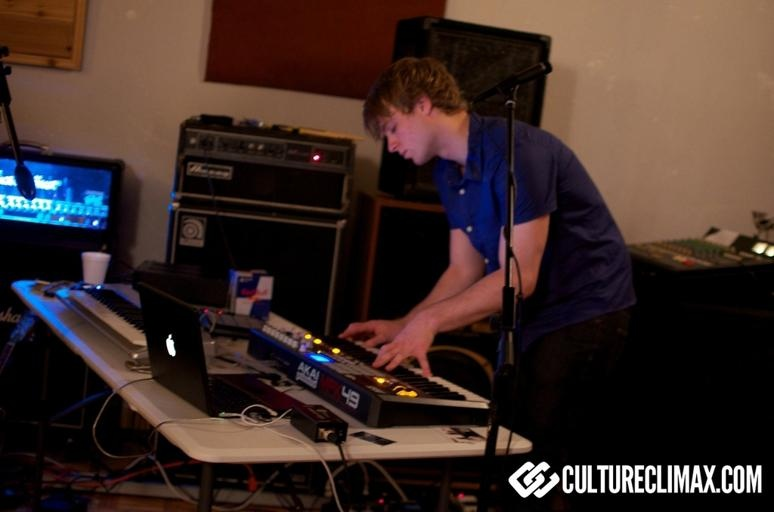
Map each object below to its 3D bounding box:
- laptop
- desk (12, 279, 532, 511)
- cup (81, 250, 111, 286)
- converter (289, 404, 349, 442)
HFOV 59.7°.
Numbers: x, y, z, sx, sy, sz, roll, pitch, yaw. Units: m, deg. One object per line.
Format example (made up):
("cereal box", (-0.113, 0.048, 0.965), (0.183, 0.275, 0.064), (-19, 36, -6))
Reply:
("laptop", (-0.589, 0.271, 2.339), (0.444, 0.382, 0.524), (-3, 8, -38))
("desk", (-0.656, 0.530, 2.323), (1.924, 0.393, 0.595), (8, 12, 21))
("cup", (-1.407, 0.054, 3.150), (0.154, 0.152, 0.148), (6, 7, -1))
("converter", (-0.227, 0.524, 2.132), (0.226, 0.077, 0.095), (10, 13, 32))
